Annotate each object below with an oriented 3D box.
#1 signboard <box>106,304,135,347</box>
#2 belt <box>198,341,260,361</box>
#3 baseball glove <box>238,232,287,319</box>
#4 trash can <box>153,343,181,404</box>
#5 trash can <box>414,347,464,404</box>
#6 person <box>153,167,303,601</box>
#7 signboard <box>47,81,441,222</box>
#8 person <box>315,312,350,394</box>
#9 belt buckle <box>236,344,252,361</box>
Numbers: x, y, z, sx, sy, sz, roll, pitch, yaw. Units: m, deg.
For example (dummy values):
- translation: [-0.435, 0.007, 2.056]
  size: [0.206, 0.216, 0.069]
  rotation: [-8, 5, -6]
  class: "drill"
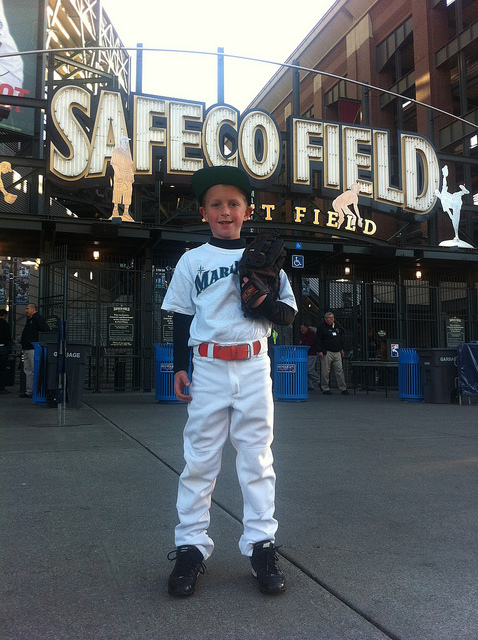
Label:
- translation: [-2.823, 0.162, 14.148]
  size: [0.703, 1.146, 0.102]
  rotation: [2, -29, -15]
  class: "signboard"
- translation: [-0.039, 0.131, 2.516]
  size: [0.264, 0.076, 0.089]
  rotation: [0, -2, -4]
  class: "belt"
- translation: [0.108, -0.223, 2.540]
  size: [0.222, 0.330, 0.194]
  rotation: [0, -2, -17]
  class: "baseball glove"
- translation: [-1.343, 0.978, 11.094]
  size: [0.433, 1.097, 0.748]
  rotation: [0, -2, -12]
  class: "trash can"
- translation: [4.089, 1.084, 11.991]
  size: [0.675, 1.045, 0.826]
  rotation: [3, -7, -31]
  class: "trash can"
- translation: [-0.016, 0.189, 2.535]
  size: [0.605, 1.767, 0.525]
  rotation: [0, -2, -8]
  class: "person"
- translation: [0.351, -4.177, 14.992]
  size: [10.168, 2.964, 0.157]
  rotation: [4, -23, -10]
  class: "signboard"
- translation: [2.188, 0.777, 14.042]
  size: [0.709, 1.908, 0.907]
  rotation: [-1, -2, 20]
  class: "person"
- translation: [0.023, 0.130, 2.505]
  size: [0.059, 0.069, 0.019]
  rotation: [9, -2, -13]
  class: "belt buckle"
